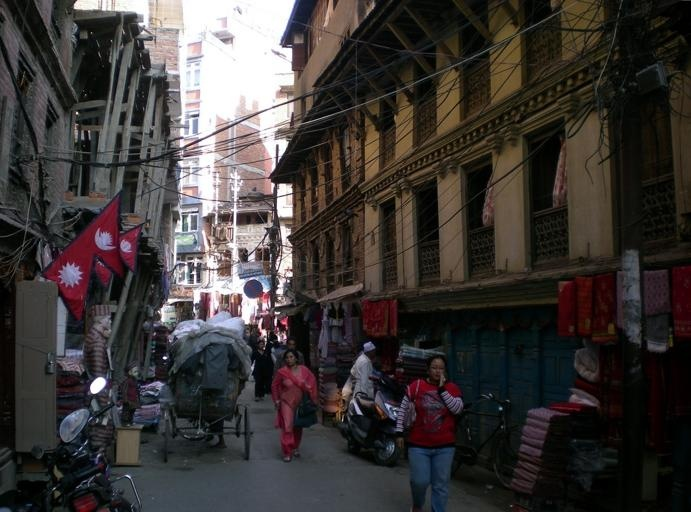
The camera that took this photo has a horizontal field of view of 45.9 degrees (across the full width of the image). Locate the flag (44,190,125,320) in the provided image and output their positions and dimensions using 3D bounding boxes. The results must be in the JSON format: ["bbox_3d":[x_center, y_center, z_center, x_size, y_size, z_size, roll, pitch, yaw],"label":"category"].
[{"bbox_3d":[-4.351,-0.002,13.734,0.102,2.060,1.828,0,4,34],"label":"flag"}]

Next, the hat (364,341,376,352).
[{"bbox_3d":[0.471,1.804,16.235,0.192,0.172,0.154,-13,5,9],"label":"hat"}]

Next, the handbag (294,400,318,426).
[{"bbox_3d":[-0.756,2.892,15.120,0.427,0.517,0.253,-3,-1,-29],"label":"handbag"}]

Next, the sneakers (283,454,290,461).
[{"bbox_3d":[-1.062,3.642,14.764,0.134,0.108,0.163,1,-10,-6],"label":"sneakers"}]

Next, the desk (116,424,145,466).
[{"bbox_3d":[-3.772,3.277,14.324,0.491,0.684,0.650,1,-3,-6],"label":"desk"}]

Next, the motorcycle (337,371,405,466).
[{"bbox_3d":[0.537,3.008,15.218,0.647,1.697,1.594,4,-11,-24],"label":"motorcycle"}]

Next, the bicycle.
[{"bbox_3d":[2.481,3.086,14.058,0.719,1.315,1.922,1,-5,-9],"label":"bicycle"}]

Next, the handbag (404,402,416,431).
[{"bbox_3d":[0.879,2.183,11.086,0.100,0.306,0.205,7,-4,-15],"label":"handbag"}]
